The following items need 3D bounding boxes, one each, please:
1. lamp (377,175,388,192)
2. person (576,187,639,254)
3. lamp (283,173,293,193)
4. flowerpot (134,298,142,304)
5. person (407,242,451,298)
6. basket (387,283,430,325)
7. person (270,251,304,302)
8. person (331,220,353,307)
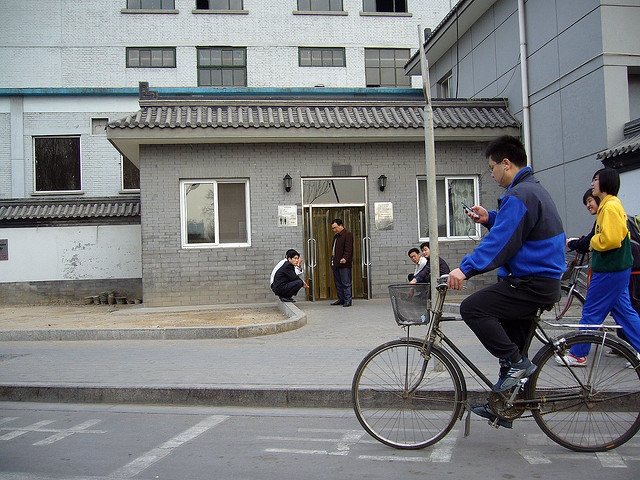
[{"bbox_3d":[1.625,-1.416,21.698,0.225,0.439,0.163,-5,15,-12],"label":"lamp"},{"bbox_3d":[4.619,-0.296,13.614,0.770,1.138,1.074,2,0,-40],"label":"person"},{"bbox_3d":[-0.788,-1.434,21.618,0.295,0.626,0.289,-3,5,-7],"label":"lamp"},{"bbox_3d":[-5.037,1.711,23.594,0.155,0.111,0.153,3,-7,-9],"label":"flowerpot"},{"bbox_3d":[2.200,0.611,16.854,0.870,1.111,0.468,-4,13,-3],"label":"person"},{"bbox_3d":[1.202,0.936,11.605,0.544,0.485,0.615,4,-9,-12],"label":"basket"},{"bbox_3d":[-0.769,0.918,20.064,0.719,1.248,0.406,-2,15,-4],"label":"person"},{"bbox_3d":[0.553,0.612,20.385,0.570,2.046,0.812,-10,17,-28],"label":"person"}]
